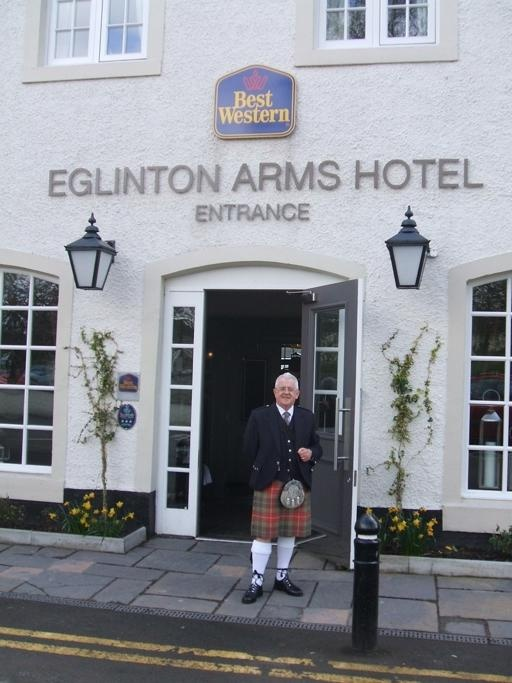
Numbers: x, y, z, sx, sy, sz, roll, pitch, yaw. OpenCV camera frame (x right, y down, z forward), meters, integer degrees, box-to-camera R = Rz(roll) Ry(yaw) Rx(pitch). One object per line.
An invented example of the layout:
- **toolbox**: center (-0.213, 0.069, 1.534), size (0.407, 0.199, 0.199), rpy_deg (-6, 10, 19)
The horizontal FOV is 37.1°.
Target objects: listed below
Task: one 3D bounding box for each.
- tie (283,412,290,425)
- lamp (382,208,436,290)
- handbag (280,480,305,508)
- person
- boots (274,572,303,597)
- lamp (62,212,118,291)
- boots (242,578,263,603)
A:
- **tie**: center (0.217, 0.544, 5.337), size (0.046, 0.072, 0.018), rpy_deg (-2, -28, -13)
- **lamp**: center (1.207, -0.754, 6.139), size (0.329, 0.651, 0.276), rpy_deg (1, 1, 10)
- **handbag**: center (0.246, 1.037, 5.194), size (0.158, 0.181, 0.069), rpy_deg (-2, -3, -12)
- **person**: center (0.178, 1.004, 5.310), size (0.553, 1.545, 0.382), rpy_deg (0, 1, -3)
- **boots**: center (0.225, 1.723, 5.459), size (0.096, 0.147, 0.253), rpy_deg (3, -7, -41)
- **lamp**: center (-1.450, -0.769, 6.771), size (0.323, 0.626, 0.505), rpy_deg (1, 1, 7)
- **boots**: center (-0.032, 1.704, 5.239), size (0.104, 0.123, 0.263), rpy_deg (1, 1, 13)
